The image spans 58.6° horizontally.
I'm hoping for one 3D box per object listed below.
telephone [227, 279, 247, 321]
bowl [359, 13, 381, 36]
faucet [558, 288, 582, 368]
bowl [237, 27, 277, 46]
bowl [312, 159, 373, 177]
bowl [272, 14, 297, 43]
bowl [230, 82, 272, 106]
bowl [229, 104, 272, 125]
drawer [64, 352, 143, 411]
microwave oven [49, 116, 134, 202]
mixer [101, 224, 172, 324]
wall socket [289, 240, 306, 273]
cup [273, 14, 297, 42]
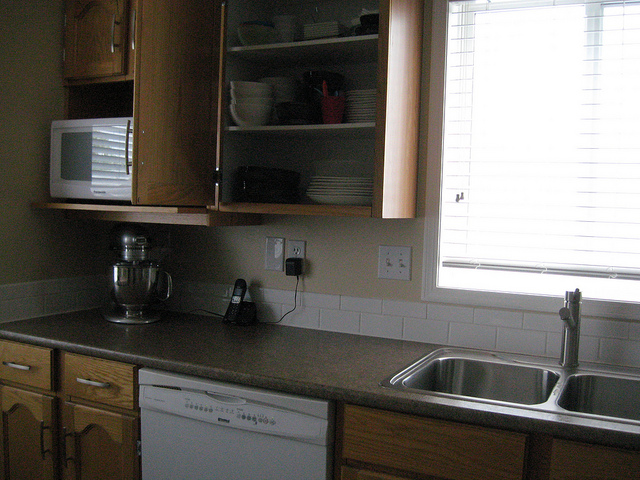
[{"bbox_3d":[-0.388,0.287,2.713,0.063,0.214,0.055,8,-16,28],"label":"telephone"},{"bbox_3d":[0.192,-0.831,2.202,0.086,0.089,0.023,7,9,44],"label":"bowl"},{"bbox_3d":[0.963,0.332,2.191,0.077,0.297,0.214,4,8,25],"label":"faucet"},{"bbox_3d":[-0.267,-0.840,2.401,0.103,0.049,0.103,0,14,0],"label":"bowl"},{"bbox_3d":[0.096,-0.282,2.260,0.246,0.066,0.051,4,7,27],"label":"bowl"},{"bbox_3d":[-0.137,-0.881,2.413,0.120,0.108,0.109,-1,7,0],"label":"bowl"},{"bbox_3d":[-0.293,-0.598,2.387,0.126,0.069,0.119,1,11,0],"label":"bowl"},{"bbox_3d":[-0.289,-0.522,2.386,0.115,0.041,0.109,0,6,0],"label":"bowl"},{"bbox_3d":[-0.859,0.557,2.286,0.300,0.111,0.226,2,-4,26],"label":"drawer"},{"bbox_3d":[-0.910,-0.360,2.651,0.644,0.357,0.321,5,5,28],"label":"microwave oven"},{"bbox_3d":[-0.893,0.148,2.752,0.312,0.448,0.306,-1,7,-15],"label":"mixer"},{"bbox_3d":[-0.102,0.074,2.669,0.092,0.146,0.021,4,8,24],"label":"wall socket"},{"bbox_3d":[-0.138,-0.886,2.392,0.117,0.107,0.110,0,12,0],"label":"cup"}]
